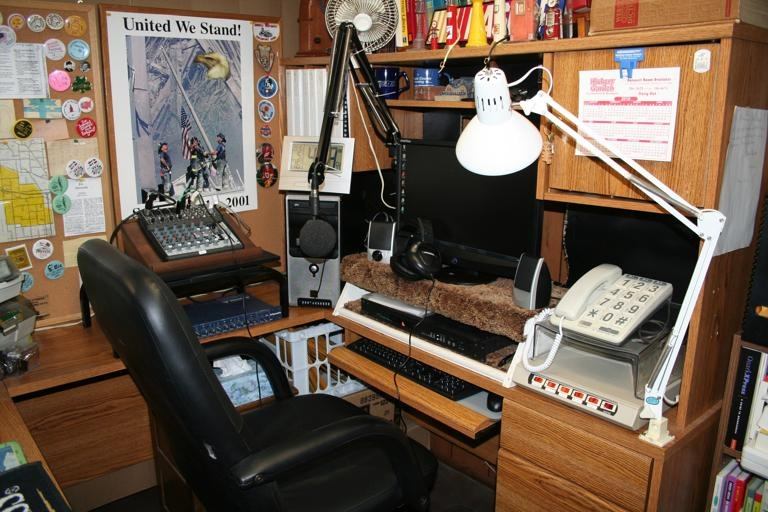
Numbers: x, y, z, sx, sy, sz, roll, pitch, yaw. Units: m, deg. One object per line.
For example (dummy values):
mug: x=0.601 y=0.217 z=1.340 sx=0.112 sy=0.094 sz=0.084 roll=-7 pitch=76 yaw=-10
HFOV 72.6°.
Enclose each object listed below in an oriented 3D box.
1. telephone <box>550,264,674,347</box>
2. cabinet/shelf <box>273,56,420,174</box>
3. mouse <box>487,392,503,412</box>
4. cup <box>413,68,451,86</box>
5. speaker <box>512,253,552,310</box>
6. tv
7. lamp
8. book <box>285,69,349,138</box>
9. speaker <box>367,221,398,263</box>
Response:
telephone: x=0.811 y=0.157 z=1.843 sx=0.380 sy=0.121 sz=0.300 roll=-29 pitch=25 yaw=-36
cabinet/shelf: x=-0.166 y=-0.683 z=2.525 sx=0.682 sy=0.653 sz=0.270 roll=0 pitch=5 yaw=2
mouse: x=0.419 y=0.558 z=1.981 sx=0.062 sy=0.058 sz=0.063 roll=7 pitch=12 yaw=3
cup: x=0.229 y=-0.829 z=2.468 sx=0.156 sy=0.076 sz=0.093 roll=-9 pitch=17 yaw=-30
speaker: x=0.559 y=0.105 z=1.987 sx=0.134 sy=0.227 sz=0.157 roll=-13 pitch=16 yaw=-29
tv: x=0.368 y=-0.163 z=2.136 sx=0.186 sy=0.448 sz=0.576 roll=-7 pitch=14 yaw=-43
lamp: x=0.667 y=-0.031 z=1.762 sx=0.767 sy=1.142 sz=0.455 roll=12 pitch=23 yaw=32
book: x=-0.390 y=-0.774 z=2.641 sx=0.449 sy=0.326 sz=0.189 roll=11 pitch=22 yaw=30
speaker: x=-0.004 y=-0.060 z=2.383 sx=0.150 sy=0.229 sz=0.125 roll=9 pitch=10 yaw=35
